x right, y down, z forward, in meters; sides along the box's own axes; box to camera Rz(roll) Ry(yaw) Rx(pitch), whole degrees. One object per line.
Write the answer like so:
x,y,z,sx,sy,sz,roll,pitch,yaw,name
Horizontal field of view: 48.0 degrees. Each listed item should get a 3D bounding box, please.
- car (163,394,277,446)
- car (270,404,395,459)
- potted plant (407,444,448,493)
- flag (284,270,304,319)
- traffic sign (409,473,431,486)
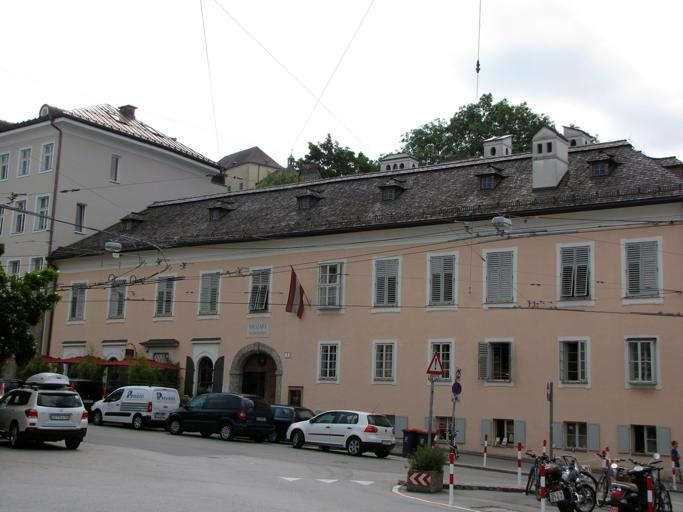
-5.432,7.322,34.963,4.320,1.646,2.203,-1,-12,32,car
-0.299,7.717,33.334,4.989,1.910,1.511,-7,-17,32,car
2.645,6.723,24.231,1.436,1.468,1.179,4,-16,-9,potted plant
-2.494,2.005,41.322,1.002,2.675,0.506,4,-15,-6,flag
2.412,6.899,23.618,0.431,0.264,0.018,-1,-29,12,traffic sign
